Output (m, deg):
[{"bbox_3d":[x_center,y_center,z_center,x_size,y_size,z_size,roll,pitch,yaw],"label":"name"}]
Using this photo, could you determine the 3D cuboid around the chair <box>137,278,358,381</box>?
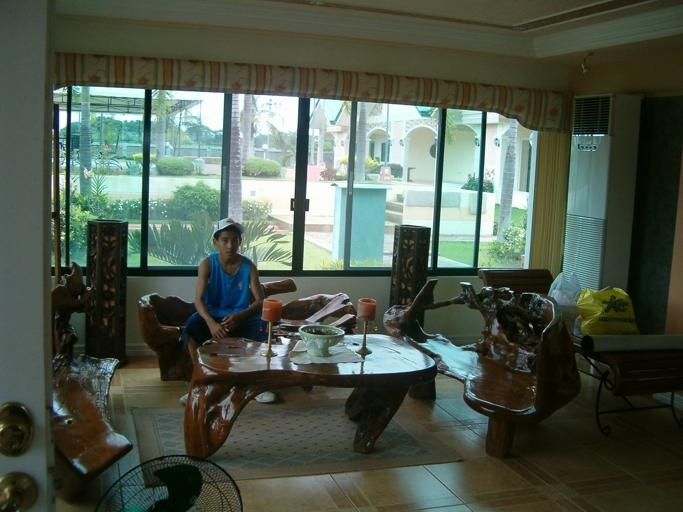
[{"bbox_3d":[-0.842,0.550,4.322,1.429,0.479,0.907,-2,12,-13],"label":"chair"}]

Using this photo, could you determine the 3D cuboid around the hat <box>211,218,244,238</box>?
[{"bbox_3d":[-0.855,-0.209,3.952,0.222,0.139,0.186,5,8,13],"label":"hat"}]

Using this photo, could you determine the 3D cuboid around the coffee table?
[{"bbox_3d":[-0.214,0.882,3.204,1.414,0.605,0.727,1,8,-16],"label":"coffee table"}]

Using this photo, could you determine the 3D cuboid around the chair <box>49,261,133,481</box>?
[{"bbox_3d":[-1.433,0.630,3.045,0.439,0.402,1.177,-1,20,-21],"label":"chair"}]

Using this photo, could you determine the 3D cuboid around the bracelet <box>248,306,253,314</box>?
[{"bbox_3d":[-0.683,0.398,3.875,0.049,0.045,0.033,-1,10,-33],"label":"bracelet"}]

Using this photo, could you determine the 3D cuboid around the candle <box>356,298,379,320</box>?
[{"bbox_3d":[0.160,0.323,3.249,0.133,0.114,0.124,4,4,3],"label":"candle"}]

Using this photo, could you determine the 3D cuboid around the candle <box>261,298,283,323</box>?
[{"bbox_3d":[-0.389,0.315,3.028,0.139,0.132,0.146,3,4,4],"label":"candle"}]
